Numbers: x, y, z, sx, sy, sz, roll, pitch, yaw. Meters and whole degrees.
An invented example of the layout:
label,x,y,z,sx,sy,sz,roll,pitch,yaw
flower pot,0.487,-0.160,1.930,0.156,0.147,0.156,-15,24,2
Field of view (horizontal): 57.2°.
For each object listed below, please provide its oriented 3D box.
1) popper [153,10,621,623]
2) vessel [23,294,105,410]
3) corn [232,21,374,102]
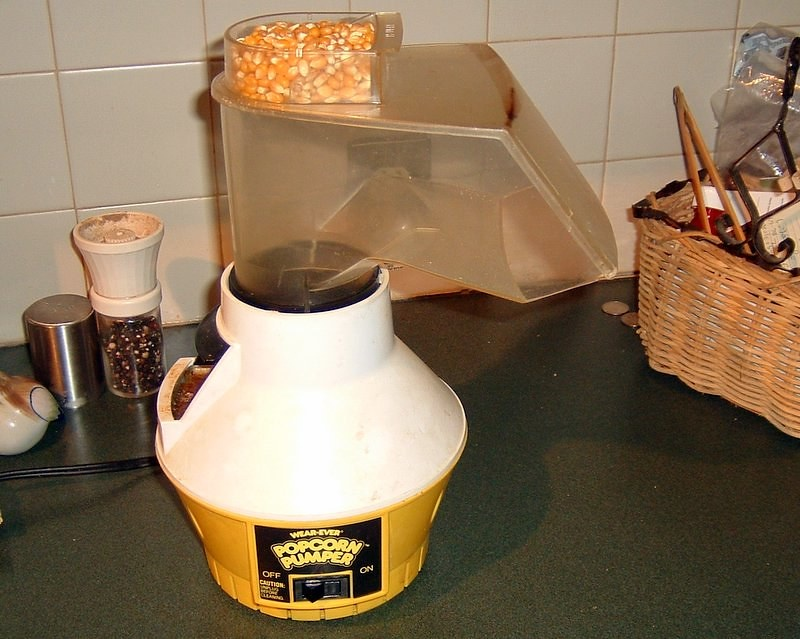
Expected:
label,x,y,z,sx,sy,sz,roll,pitch,yaw
popper,-0.044,-0.004,0.716,0.413,0.517,0.306,-15,35,-22
vessel,-0.437,0.043,0.956,0.097,0.145,0.094,-1,31,-3
corn,-0.079,-0.218,0.615,0.105,0.036,0.079,1,38,0
